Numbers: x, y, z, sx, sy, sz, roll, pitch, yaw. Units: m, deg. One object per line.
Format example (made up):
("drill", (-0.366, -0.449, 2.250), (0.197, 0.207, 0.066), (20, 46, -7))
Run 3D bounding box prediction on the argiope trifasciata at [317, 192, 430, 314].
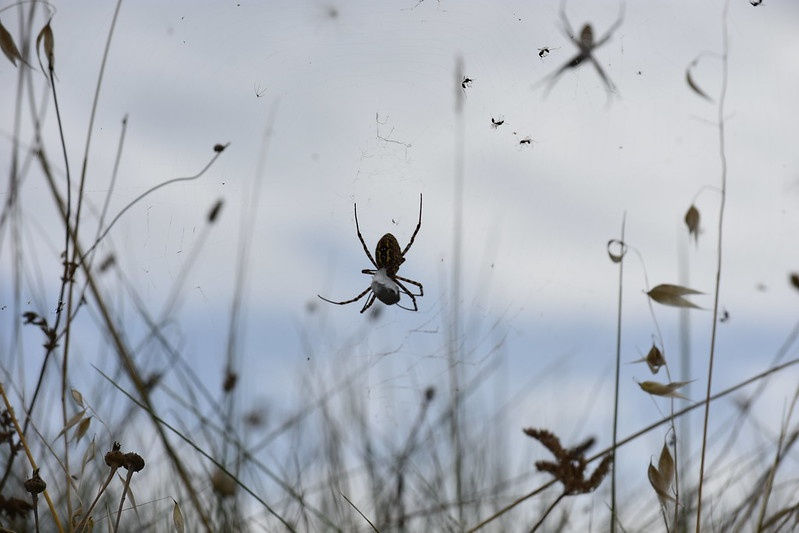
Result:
("argiope trifasciata", (-0.112, -0.047, 8.925), (0.773, 0.916, 0.261), (4, -3, 5))
